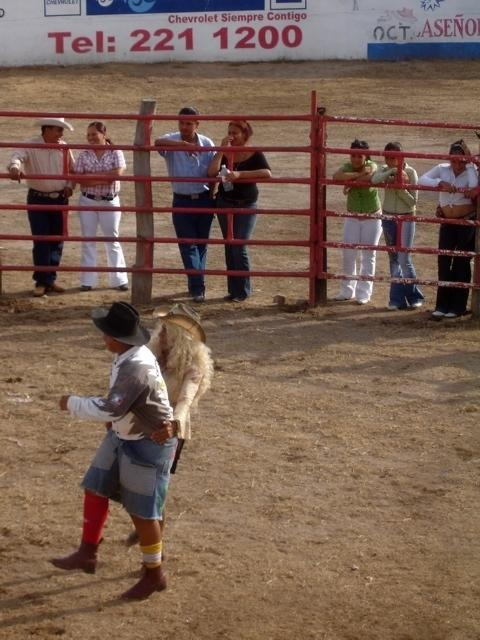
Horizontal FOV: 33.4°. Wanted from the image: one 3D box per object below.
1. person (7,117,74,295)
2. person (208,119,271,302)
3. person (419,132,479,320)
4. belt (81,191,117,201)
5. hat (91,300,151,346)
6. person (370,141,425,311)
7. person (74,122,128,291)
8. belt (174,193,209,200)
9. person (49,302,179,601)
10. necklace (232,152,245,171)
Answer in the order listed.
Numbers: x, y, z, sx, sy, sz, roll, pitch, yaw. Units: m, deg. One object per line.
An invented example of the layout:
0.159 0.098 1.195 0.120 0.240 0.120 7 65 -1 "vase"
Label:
-1.965 -1.121 7.888 0.599 1.775 0.933 0 8 -11 "person"
-0.024 -1.037 7.748 0.580 1.771 0.905 2 8 -2 "person"
1.976 -0.852 7.544 0.586 1.679 0.552 7 9 30 "person"
-1.407 -1.227 8.040 0.344 0.086 0.124 -2 8 -29 "belt"
-0.501 0.013 3.224 0.272 0.164 0.251 3 7 13 "hat"
1.581 -0.917 7.868 0.528 1.644 0.943 4 8 14 "person"
-1.398 -1.121 8.012 0.549 1.703 0.883 1 8 -9 "person"
-0.504 -1.215 7.815 0.372 0.084 0.102 4 7 21 "belt"
-0.513 0.555 3.257 0.497 1.250 0.364 1 8 -4 "person"
-0.020 -1.519 7.690 0.132 0.156 0.045 9 1 10 "necklace"
